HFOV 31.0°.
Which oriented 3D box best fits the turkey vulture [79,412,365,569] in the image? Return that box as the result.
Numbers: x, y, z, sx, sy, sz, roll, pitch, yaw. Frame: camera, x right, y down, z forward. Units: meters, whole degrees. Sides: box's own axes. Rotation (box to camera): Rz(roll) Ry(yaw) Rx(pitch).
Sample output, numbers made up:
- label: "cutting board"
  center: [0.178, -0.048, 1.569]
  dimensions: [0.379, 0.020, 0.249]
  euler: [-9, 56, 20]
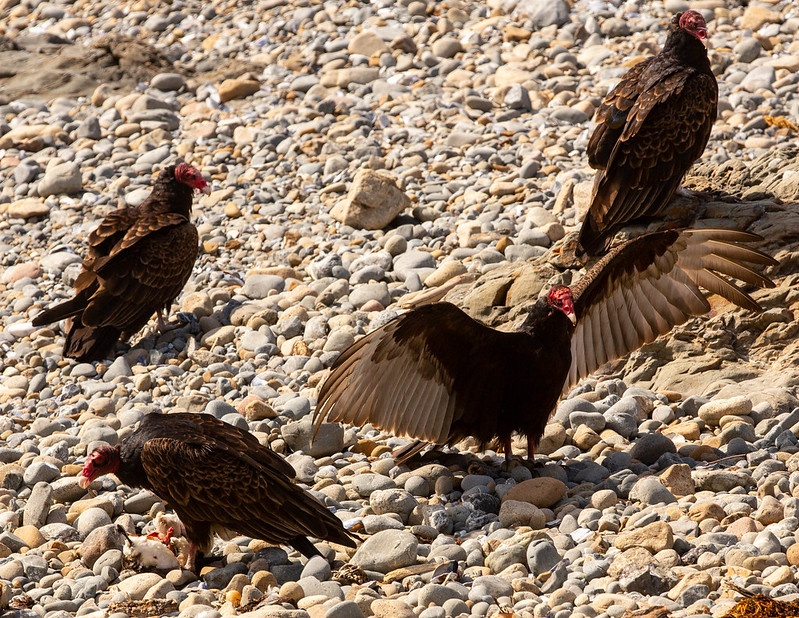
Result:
- label: "turkey vulture"
  center: [-1.158, 1.248, 9.538]
  dimensions: [1.676, 0.845, 0.787]
  euler: [10, 32, 29]
